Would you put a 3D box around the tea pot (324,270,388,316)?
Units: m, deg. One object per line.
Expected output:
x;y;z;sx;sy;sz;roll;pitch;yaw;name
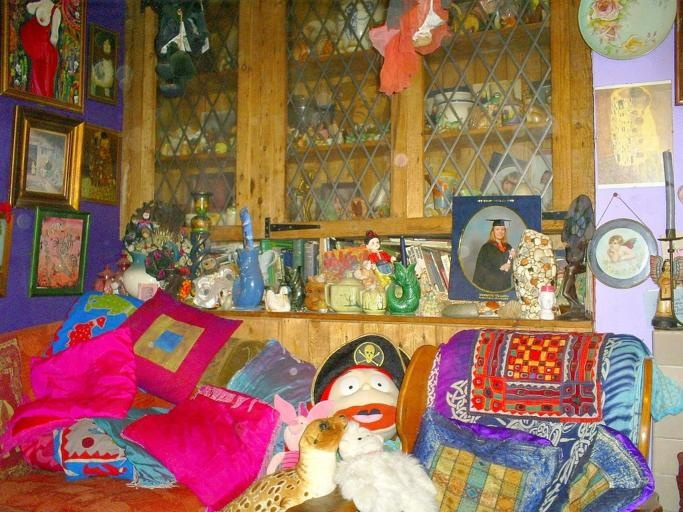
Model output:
0.052;0.162;2.385;0.215;0.161;0.167;-3;-6;21;tea pot

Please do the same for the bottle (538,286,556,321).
0.785;0.176;2.125;0.064;0.136;0.036;6;-4;4;bottle
